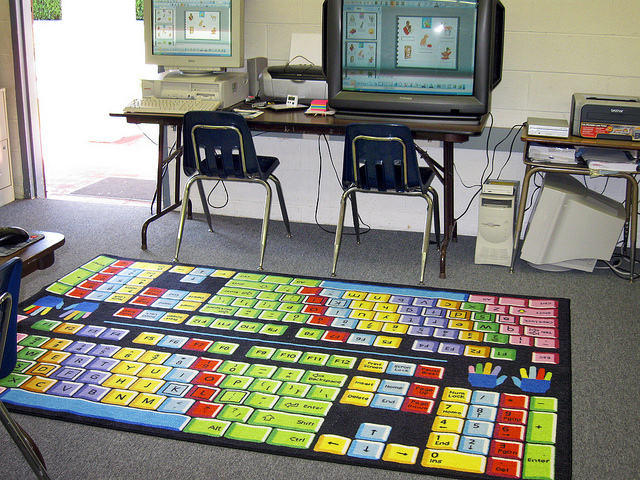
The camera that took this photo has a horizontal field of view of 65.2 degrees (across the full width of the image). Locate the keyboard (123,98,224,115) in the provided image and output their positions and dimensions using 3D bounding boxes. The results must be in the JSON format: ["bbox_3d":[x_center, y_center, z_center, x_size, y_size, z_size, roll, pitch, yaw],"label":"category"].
[{"bbox_3d":[-1.002,-0.895,3.376,0.638,0.071,0.271,4,25,10],"label":"keyboard"}]

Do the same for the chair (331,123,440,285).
[{"bbox_3d":[0.391,-0.243,3.083,0.598,0.961,0.359,4,27,10],"label":"chair"}]

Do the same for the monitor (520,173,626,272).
[{"bbox_3d":[1.705,-0.109,3.376,0.670,0.522,0.660,6,20,7],"label":"monitor"}]

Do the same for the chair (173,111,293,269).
[{"bbox_3d":[-0.596,-0.350,3.541,0.768,1.129,0.899,4,35,4],"label":"chair"}]
